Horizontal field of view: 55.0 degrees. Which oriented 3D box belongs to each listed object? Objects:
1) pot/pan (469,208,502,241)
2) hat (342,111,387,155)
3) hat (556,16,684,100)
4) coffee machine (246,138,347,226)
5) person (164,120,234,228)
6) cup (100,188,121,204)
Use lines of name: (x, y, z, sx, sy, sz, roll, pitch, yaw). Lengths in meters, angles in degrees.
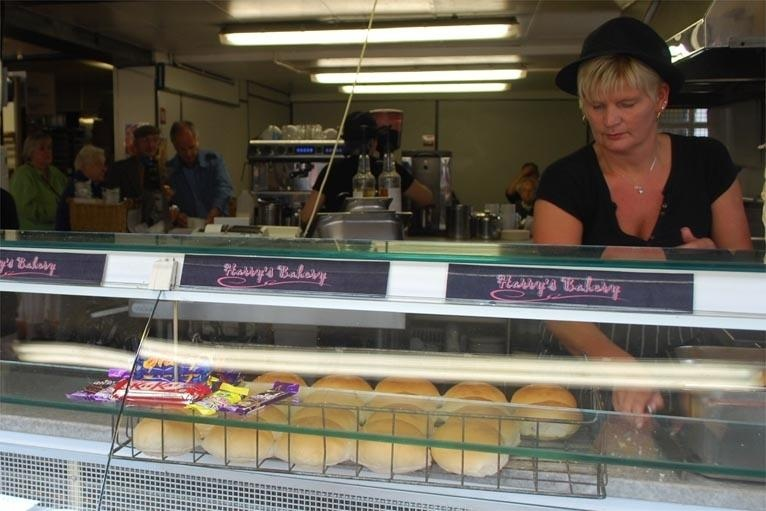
pot/pan: (0.560, -0.168, 4.122, 0.202, 0.169, 0.118, 3, 3, 21)
hat: (-0.121, -0.709, 4.245, 0.176, 0.258, 0.335, 0, 6, -22)
hat: (0.711, -0.557, 2.192, 0.308, 0.135, 0.314, 3, -6, 33)
coffee machine: (-0.584, -0.517, 5.027, 0.867, 0.726, 0.451, 0, 0, 5)
person: (-1.599, -0.704, 6.406, 0.545, 0.901, 0.395, 0, 6, -16)
cup: (-2.361, -0.520, 6.371, 0.194, 0.162, 0.157, -5, 10, -22)
